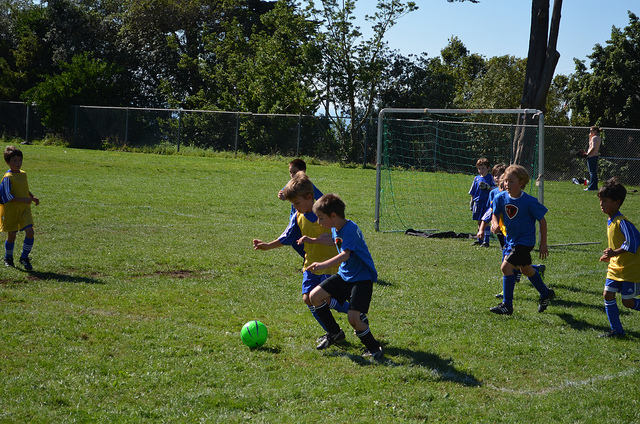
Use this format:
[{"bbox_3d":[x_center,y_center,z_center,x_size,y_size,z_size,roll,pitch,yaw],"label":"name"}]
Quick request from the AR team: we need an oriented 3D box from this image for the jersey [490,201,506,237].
[{"bbox_3d":[3.140,0.121,11.999,0.201,0.238,0.661,23,-27,39],"label":"jersey"}]

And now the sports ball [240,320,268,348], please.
[{"bbox_3d":[-1.018,1.874,10.527,0.375,0.388,0.379,6,-1,0],"label":"sports ball"}]

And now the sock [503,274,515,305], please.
[{"bbox_3d":[3.171,1.318,11.515,0.161,0.507,0.088,3,6,-2],"label":"sock"}]

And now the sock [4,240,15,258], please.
[{"bbox_3d":[-5.685,0.678,12.465,0.125,0.318,0.226,-1,8,-33],"label":"sock"}]

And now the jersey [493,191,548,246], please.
[{"bbox_3d":[3.418,0.106,11.834,0.968,0.973,0.606,8,23,35],"label":"jersey"}]

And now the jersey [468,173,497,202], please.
[{"bbox_3d":[3.650,-0.438,15.564,0.758,0.774,0.520,-3,-8,35],"label":"jersey"}]

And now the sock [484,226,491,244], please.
[{"bbox_3d":[3.794,0.538,15.506,0.099,0.359,0.499,5,7,15],"label":"sock"}]

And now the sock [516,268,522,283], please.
[{"bbox_3d":[3.808,1.228,13.066,0.061,0.248,0.228,6,7,22],"label":"sock"}]

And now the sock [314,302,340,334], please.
[{"bbox_3d":[0.088,1.663,10.610,0.150,0.427,0.301,-34,-2,31],"label":"sock"}]

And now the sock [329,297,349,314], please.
[{"bbox_3d":[0.287,1.471,10.786,0.288,0.103,0.224,28,-14,1],"label":"sock"}]

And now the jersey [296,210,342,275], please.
[{"bbox_3d":[-0.016,0.429,10.959,0.759,1.017,0.550,-4,3,19],"label":"jersey"}]

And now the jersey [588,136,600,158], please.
[{"bbox_3d":[8.308,-1.957,20.676,0.234,0.640,0.308,5,7,18],"label":"jersey"}]

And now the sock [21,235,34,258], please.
[{"bbox_3d":[-5.337,0.643,12.404,0.184,0.379,0.263,0,7,-27],"label":"sock"}]
